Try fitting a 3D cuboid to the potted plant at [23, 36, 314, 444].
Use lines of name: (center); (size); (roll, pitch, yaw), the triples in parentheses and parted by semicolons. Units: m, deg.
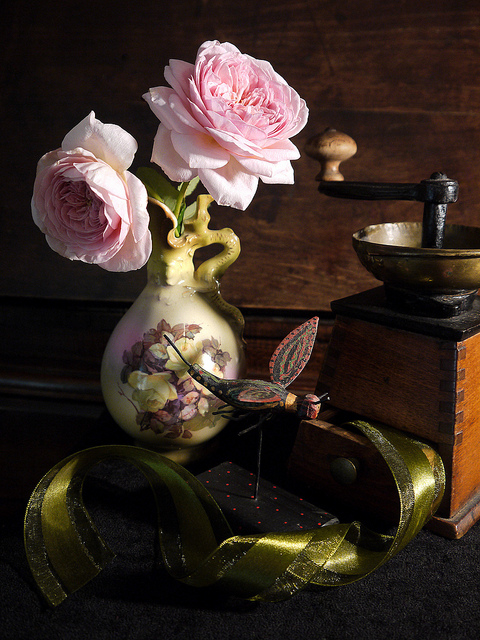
potted plant: (-0.083, -0.055, 0.627); (0.304, 0.322, 0.193); (-8, 21, -9)
